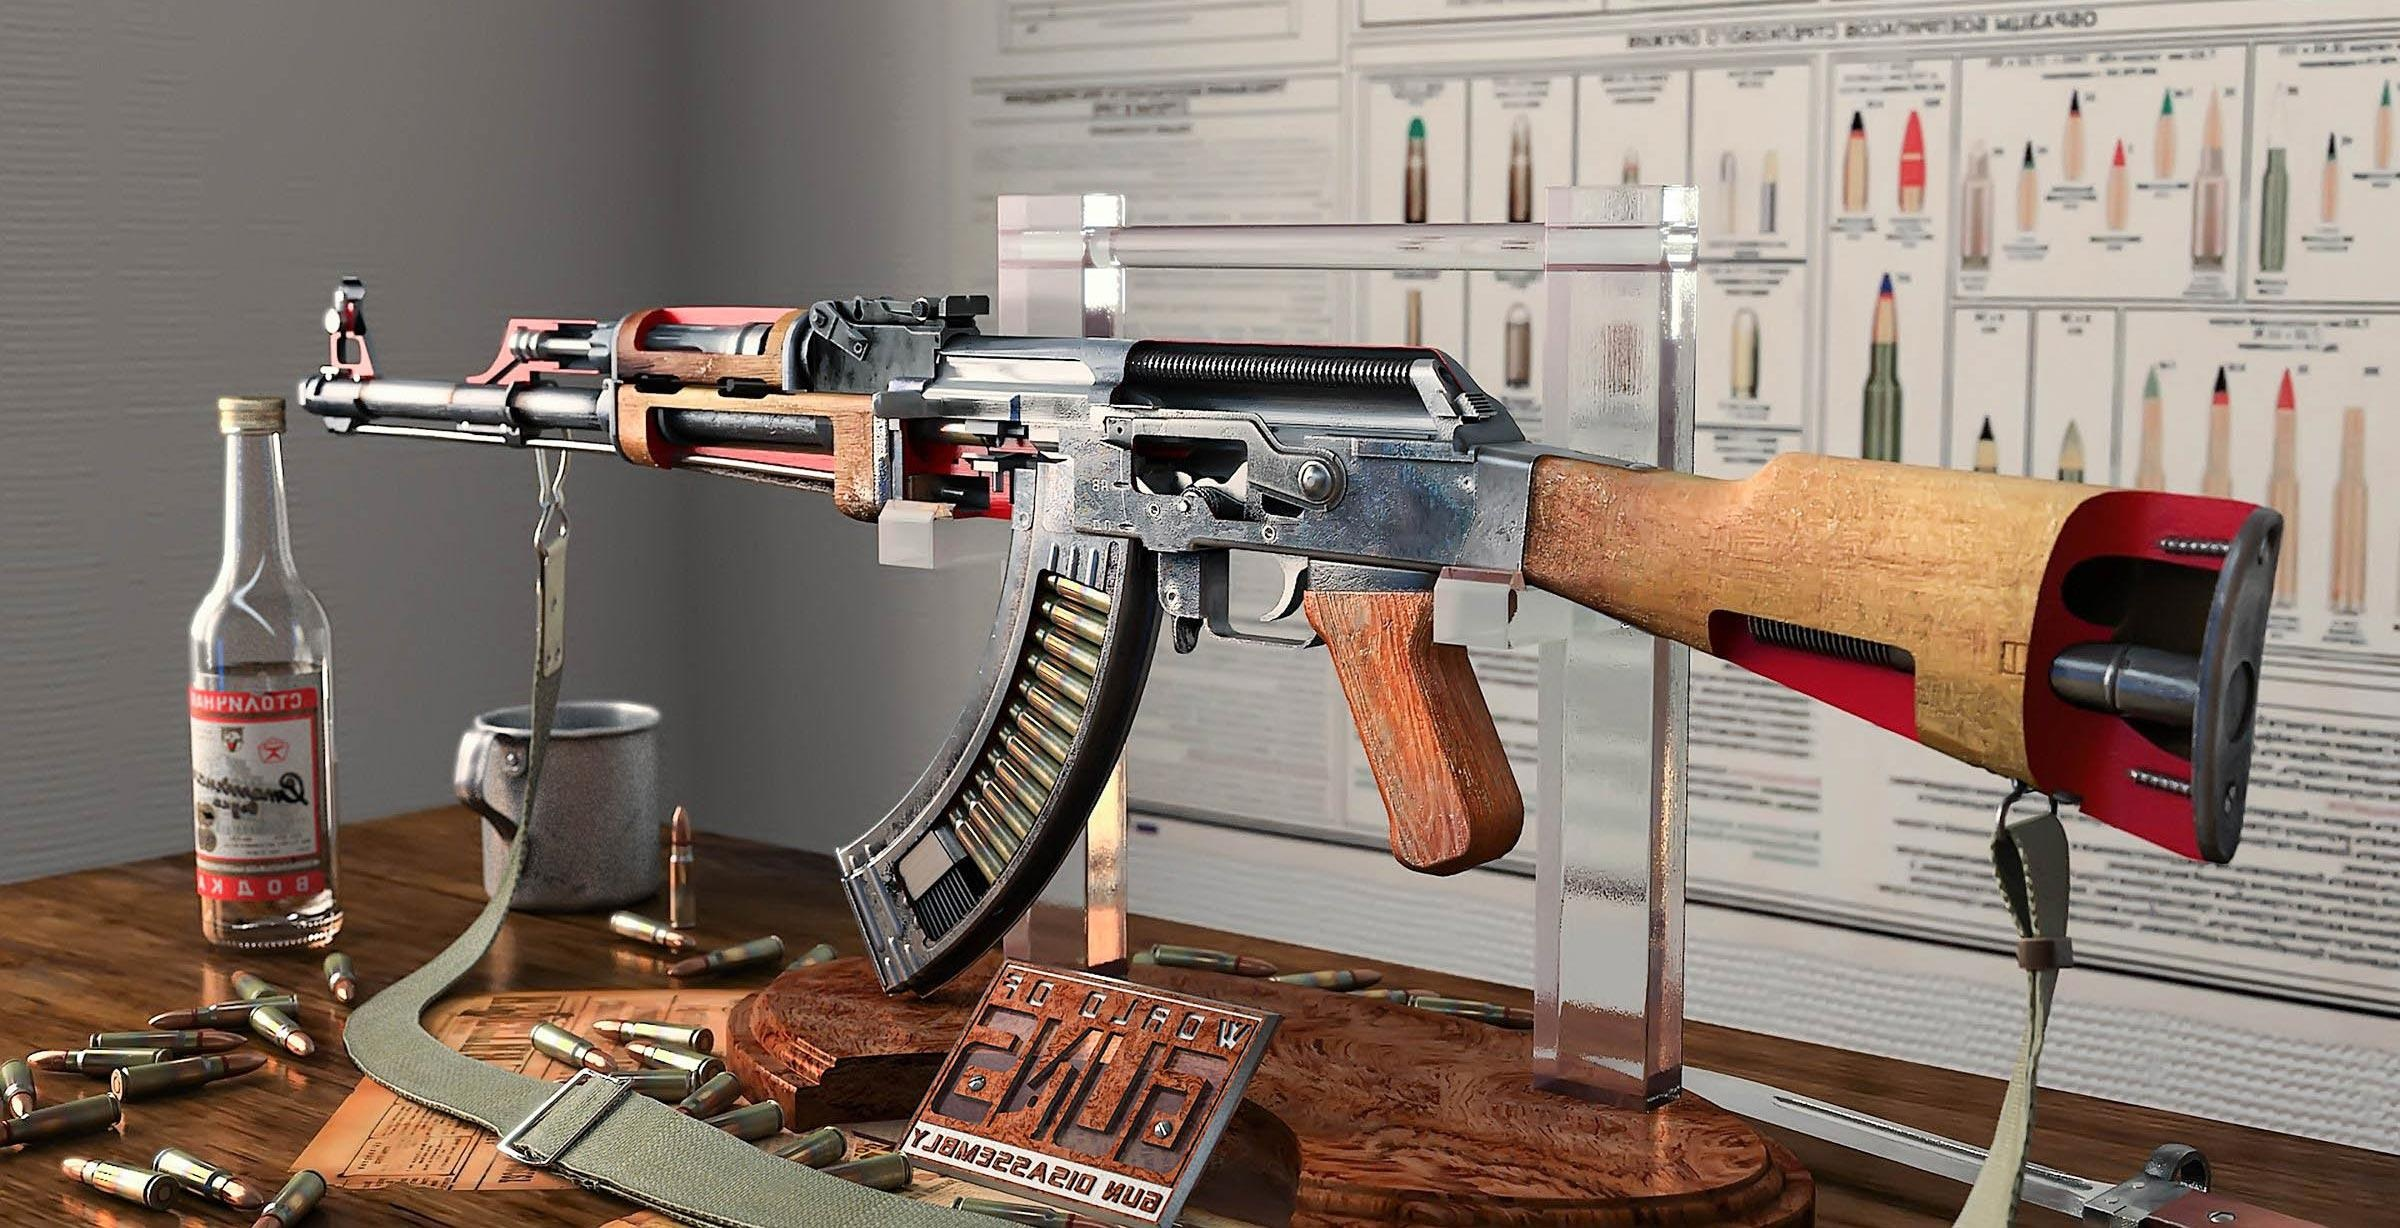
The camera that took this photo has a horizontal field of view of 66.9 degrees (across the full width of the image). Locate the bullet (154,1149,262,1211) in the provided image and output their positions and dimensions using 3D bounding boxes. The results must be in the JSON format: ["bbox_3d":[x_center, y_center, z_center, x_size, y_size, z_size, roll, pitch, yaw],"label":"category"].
[{"bbox_3d":[-1.024,0.581,1.868,0.138,0.035,0.032,6,15,20],"label":"bullet"}]

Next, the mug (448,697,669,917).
[{"bbox_3d":[-0.845,0.256,2.377,0.244,0.240,0.292,5,9,27],"label":"mug"}]

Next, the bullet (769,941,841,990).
[{"bbox_3d":[-0.473,0.418,2.159,0.032,0.033,0.103,6,-6,-25],"label":"bullet"}]
